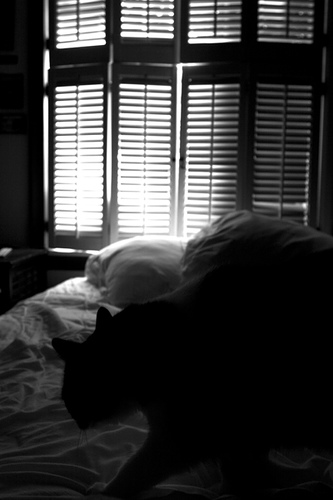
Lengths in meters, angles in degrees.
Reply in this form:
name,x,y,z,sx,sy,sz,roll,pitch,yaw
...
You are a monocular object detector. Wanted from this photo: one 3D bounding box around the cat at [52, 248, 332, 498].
name,x,y,z,sx,sy,sz,roll,pitch,yaw
cat,-0.014,0.150,0.728,0.471,0.358,0.165,-13,-1,9
